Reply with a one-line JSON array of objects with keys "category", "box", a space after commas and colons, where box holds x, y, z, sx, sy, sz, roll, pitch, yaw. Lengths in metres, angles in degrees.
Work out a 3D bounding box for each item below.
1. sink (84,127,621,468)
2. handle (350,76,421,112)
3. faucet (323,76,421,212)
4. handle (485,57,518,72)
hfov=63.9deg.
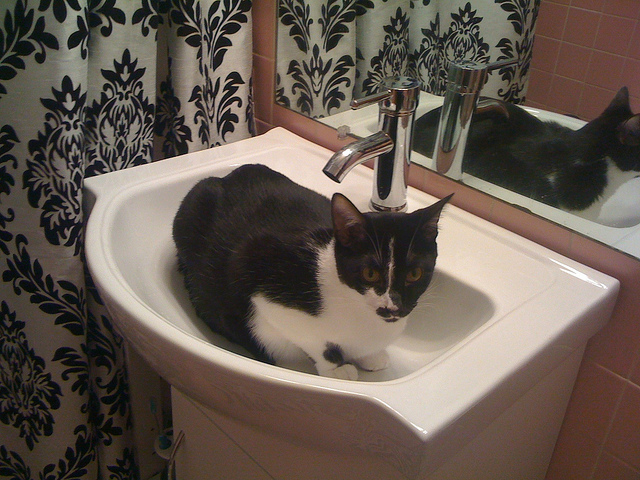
[{"category": "sink", "box": [-0.020, 0.054, 0.807, 0.547, 0.156, 0.757, -27, 44, -38]}, {"category": "handle", "box": [0.101, -0.225, 0.786, 0.109, 0.042, 0.050, -22, 38, -29]}, {"category": "faucet", "box": [0.080, -0.130, 0.811, 0.167, 0.223, 0.066, -23, 43, -27]}, {"category": "handle", "box": [0.276, -0.264, 0.779, 0.044, 0.023, 0.006, 16, 34, 18]}]
